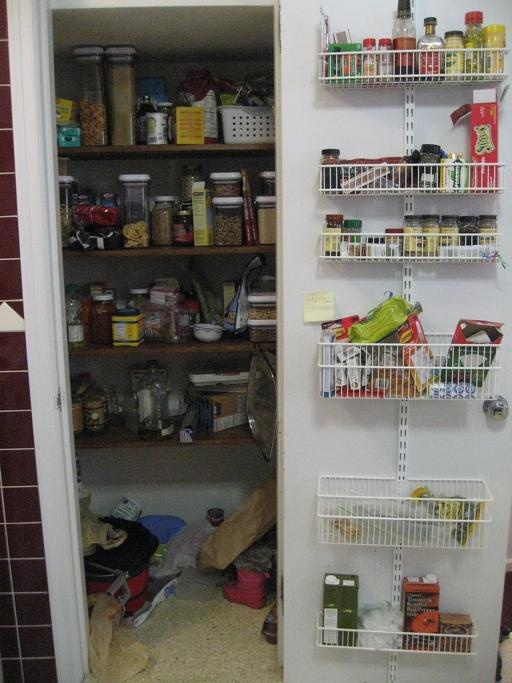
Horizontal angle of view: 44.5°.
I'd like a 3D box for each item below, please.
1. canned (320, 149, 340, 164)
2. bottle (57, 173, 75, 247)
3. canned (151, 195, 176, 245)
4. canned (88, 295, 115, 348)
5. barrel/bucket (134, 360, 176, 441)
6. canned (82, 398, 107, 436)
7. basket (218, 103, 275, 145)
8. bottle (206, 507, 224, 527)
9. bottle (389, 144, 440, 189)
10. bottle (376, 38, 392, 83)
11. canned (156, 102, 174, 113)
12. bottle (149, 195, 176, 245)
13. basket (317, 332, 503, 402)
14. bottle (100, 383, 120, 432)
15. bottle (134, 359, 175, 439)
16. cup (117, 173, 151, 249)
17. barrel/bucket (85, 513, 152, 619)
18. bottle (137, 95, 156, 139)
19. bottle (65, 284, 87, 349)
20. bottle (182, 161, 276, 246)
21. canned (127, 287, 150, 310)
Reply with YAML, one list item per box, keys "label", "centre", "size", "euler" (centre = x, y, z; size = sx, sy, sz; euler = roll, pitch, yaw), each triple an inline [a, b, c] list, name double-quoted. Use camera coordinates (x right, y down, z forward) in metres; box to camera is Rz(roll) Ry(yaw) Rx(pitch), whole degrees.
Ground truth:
- label: "canned"
  centre: [0.192, -0.482, 1.655]
  size: [0.047, 0.045, 0.047]
  euler: [-6, 17, -22]
- label: "bottle"
  centre: [-0.757, -0.525, 2.528]
  size: [0.067, 0.272, 0.185]
  euler: [-6, 16, -10]
- label: "canned"
  centre: [-0.399, -0.498, 2.586]
  size: [0.113, 0.194, 0.113]
  euler: [1, 6, -31]
- label: "canned"
  centre: [-0.648, -0.088, 2.617]
  size: [0.156, 0.209, 0.155]
  euler: [-1, 4, -26]
- label: "barrel/bucket"
  centre: [-0.440, 0.260, 2.664]
  size: [0.153, 0.300, 0.124]
  euler: [9, 28, 15]
- label: "canned"
  centre: [-0.680, 0.312, 2.678]
  size: [0.124, 0.134, 0.097]
  euler: [-14, 19, -34]
- label: "basket"
  centre: [-0.034, -0.831, 2.421]
  size: [0.195, 0.101, 0.136]
  euler: [0, 11, -6]
- label: "bottle"
  centre: [-0.189, 0.798, 2.864]
  size: [0.074, 0.090, 0.067]
  euler: [4, -1, 0]
- label: "bottle"
  centre: [0.411, -0.443, 1.598]
  size: [0.140, 0.105, 0.092]
  euler: [-1, 16, 4]
- label: "bottle"
  centre: [0.326, -0.706, 1.590]
  size: [0.047, 0.108, 0.050]
  euler: [-1, 17, 0]
- label: "canned"
  centre: [-0.374, -0.928, 2.512]
  size: [0.055, 0.031, 0.055]
  euler: [3, 1, 0]
- label: "bottle"
  centre: [-0.402, -0.498, 2.588]
  size: [0.114, 0.194, 0.114]
  euler: [6, 18, -2]
- label: "basket"
  centre: [0.398, 0.081, 1.639]
  size: [0.358, 0.122, 0.209]
  euler: [0, 3, 2]
- label: "bottle"
  centre: [-0.658, 0.307, 2.827]
  size: [0.112, 0.163, 0.096]
  euler: [-3, 3, -22]
- label: "bottle"
  centre: [-0.452, 0.245, 2.678]
  size: [0.181, 0.359, 0.159]
  euler: [15, 33, 15]
- label: "cup"
  centre: [-0.514, -0.523, 2.553]
  size: [0.139, 0.285, 0.125]
  euler: [0, 11, -20]
- label: "barrel/bucket"
  centre: [-0.535, 0.921, 2.405]
  size: [0.238, 0.209, 0.204]
  euler: [-5, 4, 14]
- label: "bottle"
  centre: [-0.453, -0.876, 2.531]
  size: [0.103, 0.195, 0.082]
  euler: [-2, 11, -15]
- label: "bottle"
  centre: [-0.742, -0.096, 2.573]
  size: [0.077, 0.229, 0.241]
  euler: [-7, 17, -15]
- label: "bottle"
  centre: [-0.112, -0.541, 2.523]
  size: [0.351, 0.308, 0.267]
  euler: [-4, 16, -5]
- label: "canned"
  centre: [-0.512, -0.189, 2.710]
  size: [0.099, 0.095, 0.095]
  euler: [-1, 10, -19]
